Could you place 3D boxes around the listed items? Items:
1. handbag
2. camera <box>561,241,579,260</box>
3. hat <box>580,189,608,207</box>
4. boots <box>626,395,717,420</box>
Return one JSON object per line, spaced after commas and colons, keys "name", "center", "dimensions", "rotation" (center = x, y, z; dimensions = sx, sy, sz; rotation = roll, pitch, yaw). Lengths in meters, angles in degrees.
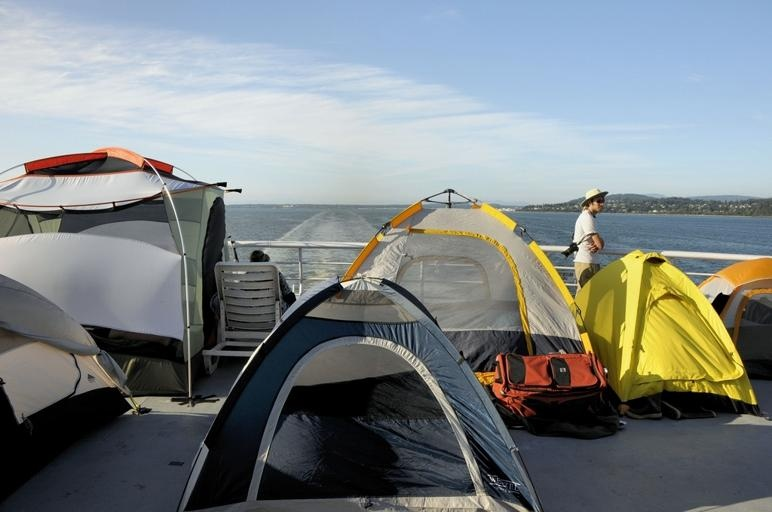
{"name": "handbag", "center": [2.035, 1.773, 6.788], "dimensions": [1.746, 0.916, 0.986], "rotation": [1, 50, -3]}
{"name": "camera", "center": [2.895, -0.080, 8.285], "dimensions": [0.231, 0.102, 0.265], "rotation": [-31, 6, 3]}
{"name": "hat", "center": [3.201, -0.891, 8.213], "dimensions": [0.324, 0.086, 0.313], "rotation": [-17, -20, -12]}
{"name": "boots", "center": [3.537, 1.945, 6.674], "dimensions": [0.681, 0.174, 0.484], "rotation": [1, -9, 2]}
